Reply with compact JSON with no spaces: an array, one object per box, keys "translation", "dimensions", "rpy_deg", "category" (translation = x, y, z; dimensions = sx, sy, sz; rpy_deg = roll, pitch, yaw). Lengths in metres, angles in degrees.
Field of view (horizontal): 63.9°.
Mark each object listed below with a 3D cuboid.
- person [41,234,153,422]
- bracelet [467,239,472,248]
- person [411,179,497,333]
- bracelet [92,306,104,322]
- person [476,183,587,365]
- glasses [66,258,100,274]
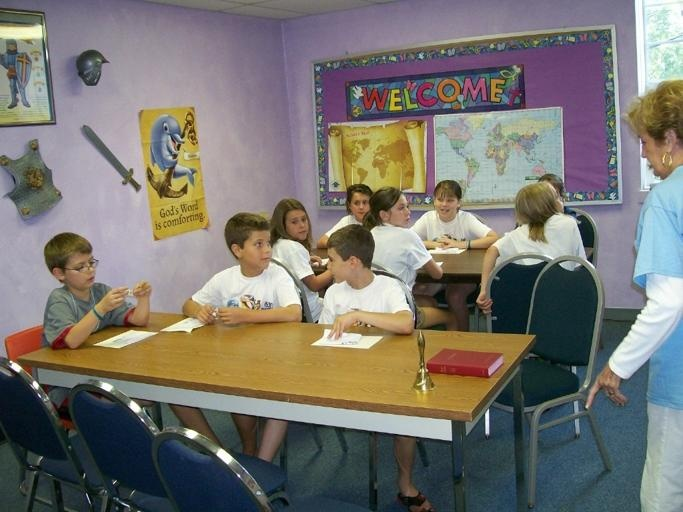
[{"translation":[-1.300,0.406,2.875],"dimensions":[0.508,0.990,0.511],"rpy_deg":[5,14,2],"category":"person"},{"translation":[1.013,-0.088,4.330],"dimensions":[0.018,0.050,0.034],"rpy_deg":[1,-7,-25],"category":"bracelet"},{"translation":[0.861,0.097,4.665],"dimensions":[0.764,1.491,0.767],"rpy_deg":[-2,9,4],"category":"person"},{"translation":[-1.188,0.284,2.687],"dimensions":[0.069,0.074,0.025],"rpy_deg":[10,53,-9],"category":"bracelet"},{"translation":[1.262,0.098,3.598],"dimensions":[0.727,1.141,0.539],"rpy_deg":[-5,17,-1],"category":"person"},{"translation":[-1.316,0.061,2.755],"dimensions":[0.123,0.062,0.046],"rpy_deg":[-15,17,-32],"category":"glasses"}]
